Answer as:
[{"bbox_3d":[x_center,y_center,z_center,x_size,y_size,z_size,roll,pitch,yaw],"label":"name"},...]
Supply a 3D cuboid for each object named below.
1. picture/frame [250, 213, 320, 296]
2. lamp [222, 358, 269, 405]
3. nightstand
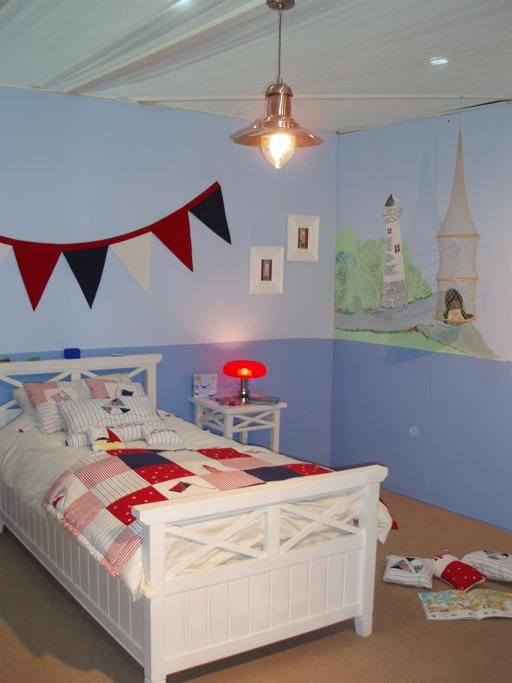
[{"bbox_3d":[0.212,-0.642,4.162,0.607,0.613,0.064,-1,4,-36],"label":"picture/frame"},{"bbox_3d":[-0.077,0.259,3.762,0.304,0.264,0.287,2,5,0],"label":"lamp"},{"bbox_3d":[-0.123,0.467,3.839,0.501,0.450,0.484,0,3,-30],"label":"nightstand"}]
